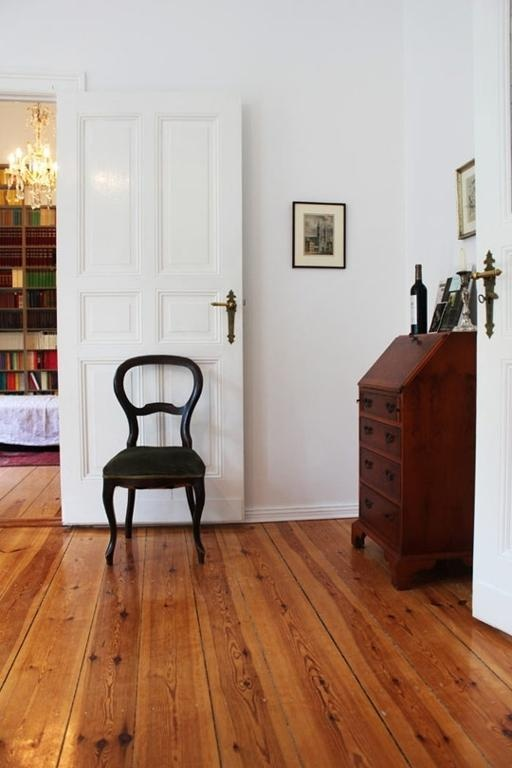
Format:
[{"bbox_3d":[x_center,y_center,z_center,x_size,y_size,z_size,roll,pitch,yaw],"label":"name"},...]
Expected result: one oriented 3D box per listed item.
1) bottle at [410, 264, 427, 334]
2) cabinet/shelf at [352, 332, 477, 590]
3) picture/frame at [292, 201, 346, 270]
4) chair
[{"bbox_3d":[0.667,-0.338,2.304,0.061,0.303,0.162,0,1,17],"label":"bottle"},{"bbox_3d":[0.624,0.269,2.217,0.365,0.938,0.547,0,1,2],"label":"cabinet/shelf"},{"bbox_3d":[0.338,-0.778,2.990,0.276,0.415,0.012,2,-22,3],"label":"picture/frame"},{"bbox_3d":[-0.450,0.304,2.529,0.432,0.873,0.632,0,1,-8],"label":"chair"}]
